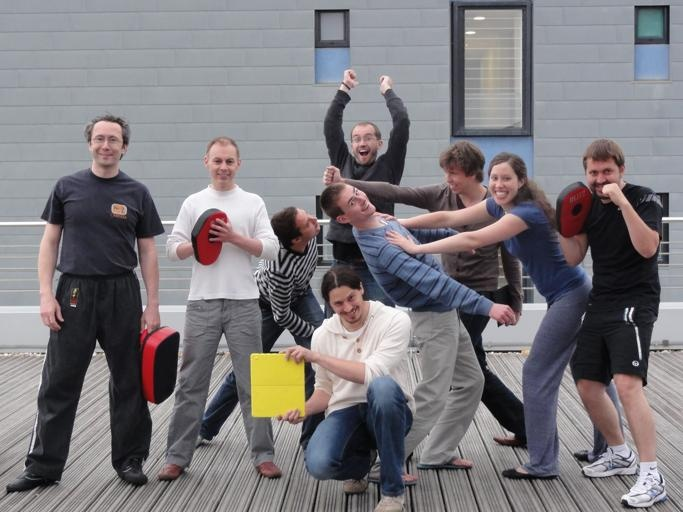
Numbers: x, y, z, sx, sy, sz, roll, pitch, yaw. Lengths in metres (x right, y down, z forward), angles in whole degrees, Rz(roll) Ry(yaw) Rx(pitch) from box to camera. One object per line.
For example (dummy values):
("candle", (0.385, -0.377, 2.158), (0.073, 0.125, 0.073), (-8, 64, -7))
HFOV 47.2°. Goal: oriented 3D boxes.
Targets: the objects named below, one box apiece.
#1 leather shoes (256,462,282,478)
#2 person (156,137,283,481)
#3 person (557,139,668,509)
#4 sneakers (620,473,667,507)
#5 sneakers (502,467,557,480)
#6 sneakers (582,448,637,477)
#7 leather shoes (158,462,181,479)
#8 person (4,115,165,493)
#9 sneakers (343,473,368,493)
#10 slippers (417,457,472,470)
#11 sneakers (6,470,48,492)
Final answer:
("leather shoes", (-0.477, 1.406, 5.151), (0.151, 0.083, 0.065), (-1, -9, 8))
("person", (-0.818, 0.329, 5.183), (0.832, 2.168, 0.612), (-2, 11, -6))
("person", (1.784, 0.380, 4.870), (0.494, 2.173, 0.706), (-8, 13, -32))
("sneakers", (1.846, 1.403, 4.745), (0.252, 0.221, 0.075), (-4, 12, -12))
("sneakers", (1.237, 1.404, 5.101), (0.328, 0.085, 0.119), (3, -6, 1))
("sneakers", (1.771, 1.355, 5.182), (0.383, 0.187, 0.159), (0, -5, -2))
("leather shoes", (-1.126, 1.393, 5.106), (0.074, 0.062, 0.172), (-6, -8, 16))
("person", (-1.635, 0.276, 5.085), (0.897, 2.323, 0.569), (-2, 11, -6))
("sneakers", (0.088, 1.422, 4.940), (0.159, 0.108, 0.090), (4, -2, 0))
("slippers", (0.707, 1.384, 5.226), (0.325, 0.088, 0.130), (-2, 2, -2))
("sneakers", (-2.018, 1.436, 5.050), (0.284, 0.120, 0.101), (4, -5, -28))
